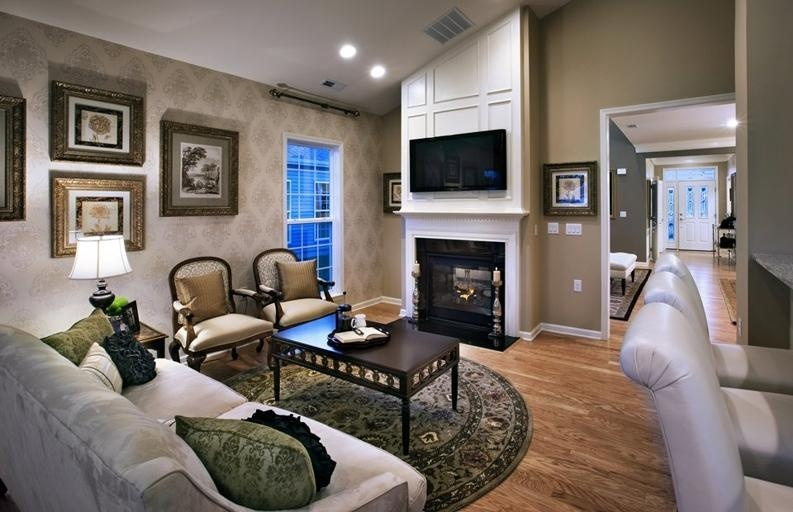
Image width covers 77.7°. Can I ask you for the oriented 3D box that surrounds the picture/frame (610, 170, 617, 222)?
[{"bbox_3d":[4.426,-1.242,9.964,0.139,1.013,0.424,1,5,24],"label":"picture/frame"}]

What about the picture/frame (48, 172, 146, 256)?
[{"bbox_3d":[-2.711,-0.385,4.380,0.068,0.773,0.767,3,3,43],"label":"picture/frame"}]

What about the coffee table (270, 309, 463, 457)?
[{"bbox_3d":[-0.098,0.698,4.134,1.447,0.670,0.904,4,6,36],"label":"coffee table"}]

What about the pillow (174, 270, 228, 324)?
[{"bbox_3d":[-1.887,0.404,4.702,0.224,0.390,0.454,4,9,38],"label":"pillow"}]

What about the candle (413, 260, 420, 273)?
[{"bbox_3d":[0.261,0.141,6.152,0.066,0.175,0.131,-1,5,9],"label":"candle"}]

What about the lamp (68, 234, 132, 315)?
[{"bbox_3d":[-2.570,0.136,4.275,0.431,0.637,0.402,-4,5,-29],"label":"lamp"}]

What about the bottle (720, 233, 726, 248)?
[{"bbox_3d":[6.653,-0.302,10.018,0.103,0.233,0.372,2,6,33],"label":"bottle"}]

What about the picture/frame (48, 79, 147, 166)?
[{"bbox_3d":[-2.708,-1.196,4.385,0.852,0.813,0.076,-1,3,-44],"label":"picture/frame"}]

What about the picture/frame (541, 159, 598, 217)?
[{"bbox_3d":[1.977,-0.778,5.536,0.641,0.658,0.054,2,4,27],"label":"picture/frame"}]

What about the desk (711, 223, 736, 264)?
[{"bbox_3d":[6.958,-0.266,10.428,0.326,0.558,0.925,-1,1,29],"label":"desk"}]

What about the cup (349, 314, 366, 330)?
[{"bbox_3d":[-0.324,0.561,4.261,0.141,0.105,0.088,-5,8,-32],"label":"cup"}]

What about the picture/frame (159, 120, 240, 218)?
[{"bbox_3d":[-2.030,-0.897,4.972,0.089,1.262,1.036,3,4,42],"label":"picture/frame"}]
